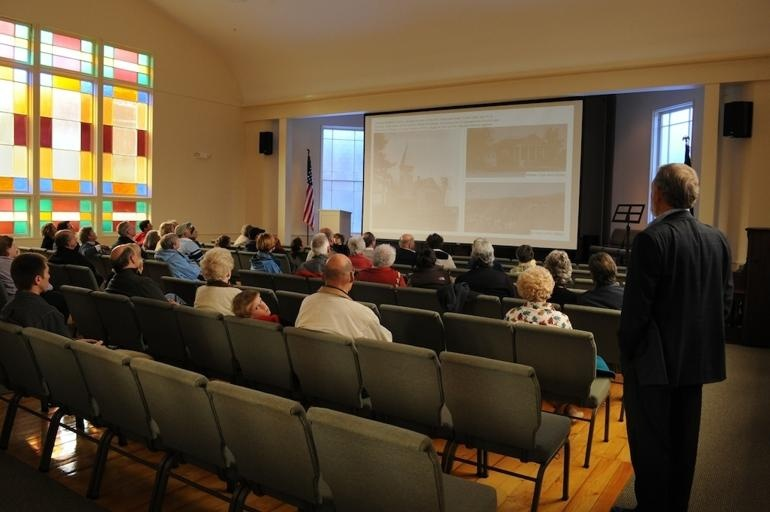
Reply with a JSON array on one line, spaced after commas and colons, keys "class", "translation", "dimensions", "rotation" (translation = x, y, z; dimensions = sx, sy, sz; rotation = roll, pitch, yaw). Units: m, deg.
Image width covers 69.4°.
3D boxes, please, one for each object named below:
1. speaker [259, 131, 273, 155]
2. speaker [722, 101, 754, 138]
[{"class": "speaker", "translation": [-3.347, -3.196, 15.713], "dimensions": [0.393, 0.680, 0.420], "rotation": [0, 6, 0]}, {"class": "speaker", "translation": [6.209, -2.400, 9.799], "dimensions": [0.447, 0.624, 0.277], "rotation": [2, 6, 18]}]
